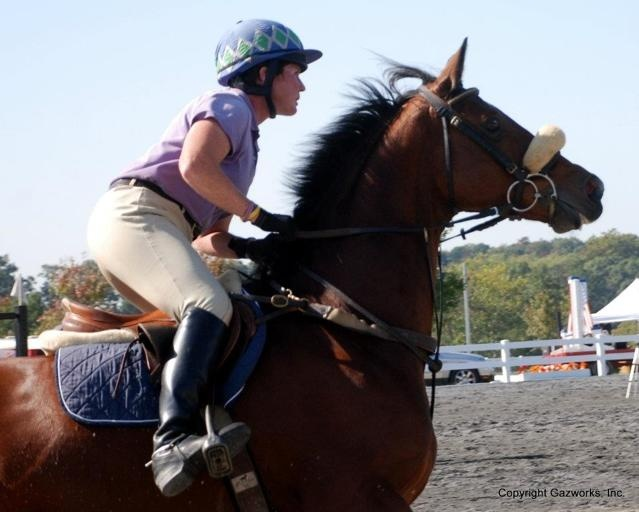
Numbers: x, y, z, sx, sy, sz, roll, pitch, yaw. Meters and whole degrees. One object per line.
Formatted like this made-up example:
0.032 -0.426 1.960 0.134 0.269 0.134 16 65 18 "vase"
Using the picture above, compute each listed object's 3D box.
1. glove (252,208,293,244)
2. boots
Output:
-0.212 -0.139 3.166 0.183 0.079 0.147 23 6 -4 "glove"
-0.552 0.596 2.869 0.309 0.483 0.318 -5 -2 3 "boots"
